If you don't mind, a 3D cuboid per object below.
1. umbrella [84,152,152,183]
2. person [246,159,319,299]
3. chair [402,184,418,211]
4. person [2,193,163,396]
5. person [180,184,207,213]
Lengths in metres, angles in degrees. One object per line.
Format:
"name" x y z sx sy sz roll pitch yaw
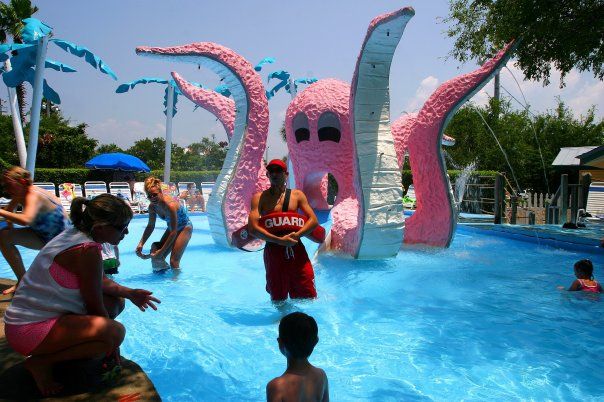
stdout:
"umbrella" -9.853 -1.795 20.382 2.579 1.627 4.262 -4 10 -24
"person" -0.246 0.404 4.975 0.908 1.900 0.445 -1 9 -1
"chair" 4.852 -0.131 17.108 0.452 0.825 2.447 2 10 14
"person" -1.983 0.756 3.255 0.988 1.586 0.467 -7 12 -36
"person" -4.900 -0.136 17.372 1.179 1.369 2.012 -2 6 -26
